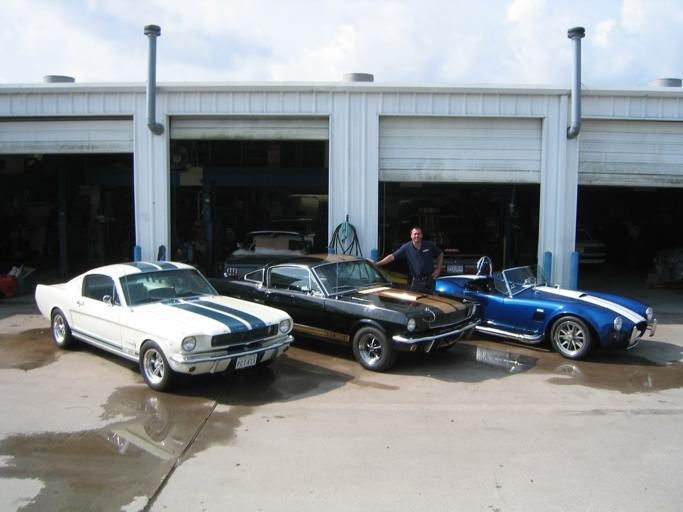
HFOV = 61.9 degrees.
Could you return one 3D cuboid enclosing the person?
[{"bbox_3d":[1.285,0.043,11.525,1.397,1.837,0.505,-1,-5,-3],"label":"person"}]
